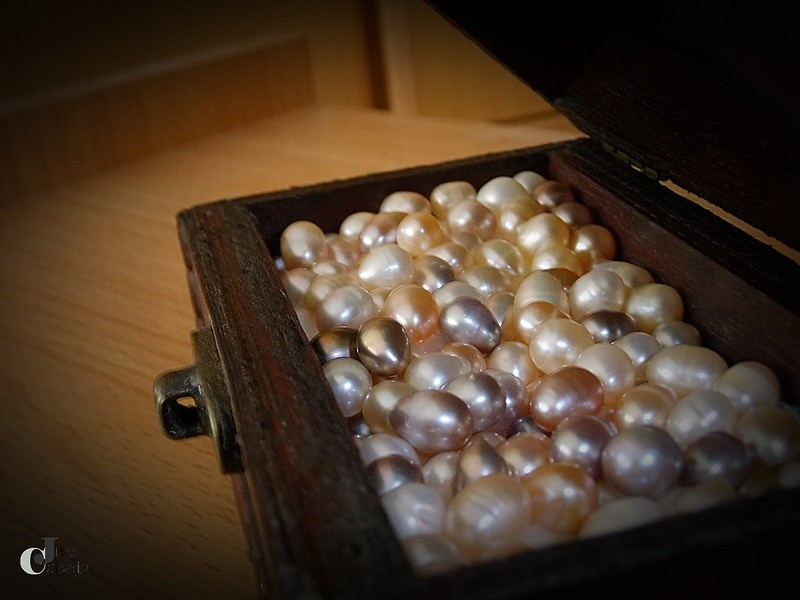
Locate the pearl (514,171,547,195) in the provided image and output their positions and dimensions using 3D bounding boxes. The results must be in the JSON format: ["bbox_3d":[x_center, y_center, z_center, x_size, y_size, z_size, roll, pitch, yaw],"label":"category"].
[{"bbox_3d":[0.224,-0.206,1.012,0.043,0.026,0.047,5,41,-3],"label":"pearl"}]

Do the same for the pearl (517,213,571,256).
[{"bbox_3d":[0.213,-0.101,0.888,0.061,0.036,0.068,-14,68,9],"label":"pearl"}]

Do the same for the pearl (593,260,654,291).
[{"bbox_3d":[0.315,-0.038,0.837,0.072,0.035,0.039,24,66,28],"label":"pearl"}]

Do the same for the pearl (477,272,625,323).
[{"bbox_3d":[0.224,-0.011,0.793,0.130,0.064,0.083,-7,5,-7],"label":"pearl"}]

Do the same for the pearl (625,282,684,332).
[{"bbox_3d":[0.337,0.009,0.785,0.063,0.039,0.069,-30,75,11],"label":"pearl"}]

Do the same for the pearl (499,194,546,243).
[{"bbox_3d":[0.194,-0.129,0.931,0.061,0.068,0.047,2,28,-8],"label":"pearl"}]
